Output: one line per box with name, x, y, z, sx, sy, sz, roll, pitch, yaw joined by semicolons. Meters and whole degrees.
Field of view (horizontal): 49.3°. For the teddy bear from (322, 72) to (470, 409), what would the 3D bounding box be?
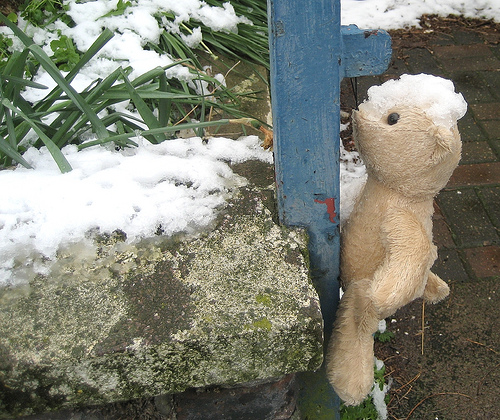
teddy bear;0.484;0.112;1.870;0.360;0.791;0.919;7;55;10
